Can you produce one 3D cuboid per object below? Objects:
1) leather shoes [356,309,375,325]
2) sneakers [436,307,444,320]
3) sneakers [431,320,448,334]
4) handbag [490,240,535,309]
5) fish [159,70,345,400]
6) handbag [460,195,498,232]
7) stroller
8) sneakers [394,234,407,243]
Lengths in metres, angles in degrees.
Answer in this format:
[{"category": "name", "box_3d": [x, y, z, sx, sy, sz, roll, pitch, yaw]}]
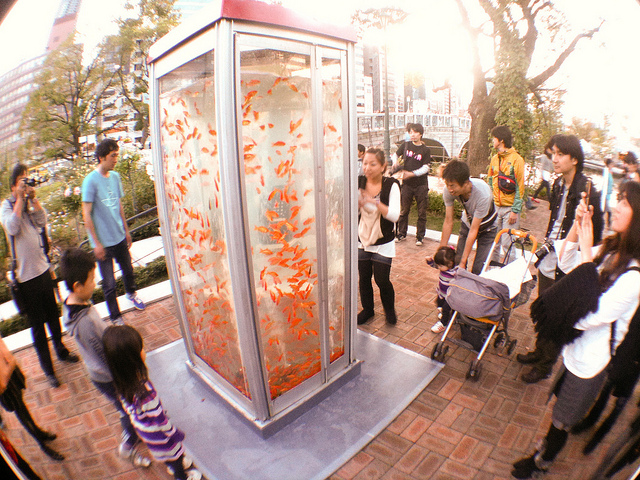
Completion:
[{"category": "leather shoes", "box_3d": [0.494, 0.842, 4.624, 0.214, 0.091, 0.116, -35, 32, -15]}, {"category": "sneakers", "box_3d": [1.331, 0.802, 4.567, 0.057, 0.192, 0.076, 0, -3, -1]}, {"category": "sneakers", "box_3d": [1.263, 0.903, 4.378, 0.166, 0.071, 0.092, -30, 32, -28]}, {"category": "handbag", "box_3d": [1.829, 0.254, 4.069, 0.553, 0.503, 0.359, 0, 3, -13]}, {"category": "fish", "box_3d": [-0.553, -0.036, 3.179, 1.498, 2.579, 0.795, 0, 19, 3]}, {"category": "handbag", "box_3d": [1.728, -0.264, 4.264, 0.252, 0.354, 0.126, 2, -5, 39]}, {"category": "stroller", "box_3d": [1.557, 0.518, 3.807, 1.080, 1.160, 0.515, -8, 17, -39]}, {"category": "sneakers", "box_3d": [1.317, -0.044, 6.718, 0.117, 0.140, 0.327, -2, 1, 38]}]
